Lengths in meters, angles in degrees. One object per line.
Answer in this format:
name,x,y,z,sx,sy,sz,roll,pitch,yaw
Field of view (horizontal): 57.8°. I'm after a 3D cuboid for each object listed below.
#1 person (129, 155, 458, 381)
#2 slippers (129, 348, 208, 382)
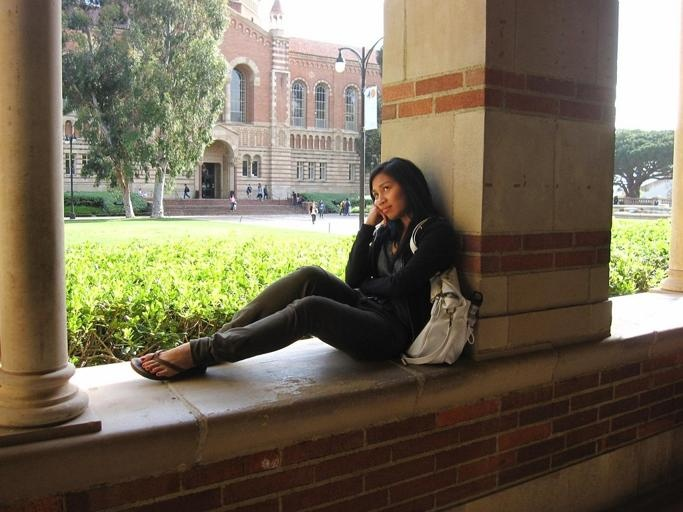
person,-0.249,0.054,3.742,1.841,1.226,0.784,0,0,-17
slippers,-0.958,0.633,3.422,0.329,0.095,0.175,18,1,-28
